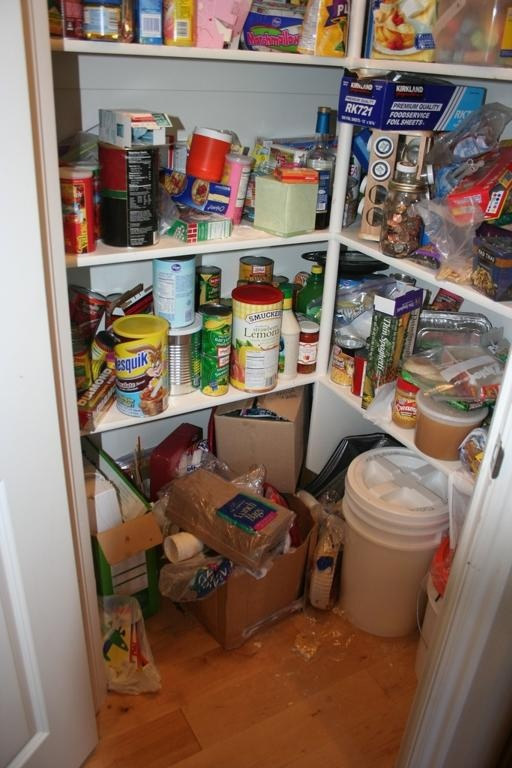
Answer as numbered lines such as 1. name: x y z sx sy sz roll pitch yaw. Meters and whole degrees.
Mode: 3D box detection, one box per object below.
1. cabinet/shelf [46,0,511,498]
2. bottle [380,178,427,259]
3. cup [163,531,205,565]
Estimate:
1. cabinet/shelf: 0.052 -0.305 1.183 0.935 0.968 0.316 -14 40 -25
2. bottle: 0.310 -0.347 1.170 0.084 0.160 0.053 9 24 14
3. cup: -0.172 0.381 1.323 0.074 0.075 0.080 -8 -6 -1
